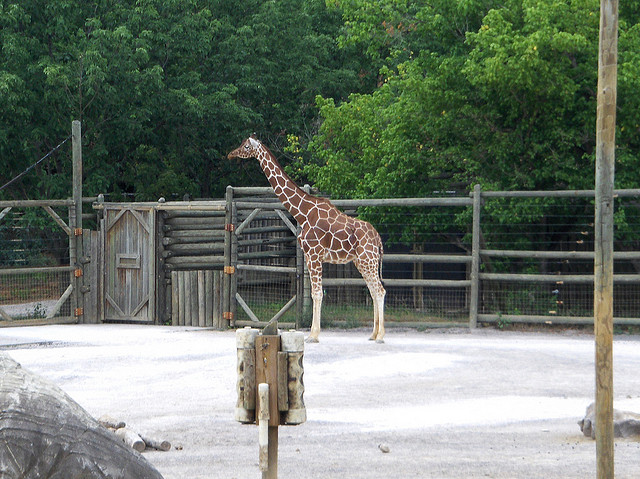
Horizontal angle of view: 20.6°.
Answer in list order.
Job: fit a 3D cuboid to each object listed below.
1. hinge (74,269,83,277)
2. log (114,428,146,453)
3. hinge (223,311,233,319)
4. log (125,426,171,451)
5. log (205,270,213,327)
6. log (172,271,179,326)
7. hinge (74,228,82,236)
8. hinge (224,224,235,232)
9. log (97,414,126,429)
[{"bbox_3d":[-5.987,0.838,44.154,0.215,0.128,0.047,-6,3,-34],"label":"hinge"},{"bbox_3d":[-3.787,4.005,35.834,0.671,0.332,0.254,37,39,4],"label":"log"},{"bbox_3d":[-2.221,1.870,43.414,0.209,0.173,0.127,1,-12,2],"label":"hinge"},{"bbox_3d":[-3.486,4.068,36.016,0.702,0.135,0.157,28,54,27],"label":"log"},{"bbox_3d":[-2.708,1.453,43.720,0.185,1.633,0.223,8,29,10],"label":"log"},{"bbox_3d":[-3.588,1.415,43.948,0.176,1.254,0.121,-10,-13,40],"label":"log"},{"bbox_3d":[-6.001,-0.168,44.219,0.191,0.220,0.141,1,-1,-35],"label":"hinge"},{"bbox_3d":[-2.181,-0.291,43.513,0.178,0.205,0.138,1,2,16],"label":"hinge"},{"bbox_3d":[-4.242,3.731,36.158,0.351,0.122,0.199,13,30,41],"label":"log"}]
